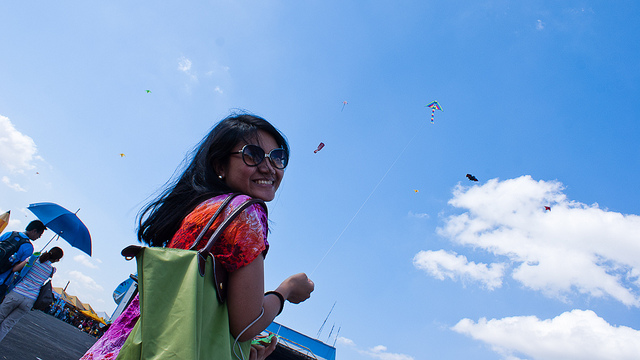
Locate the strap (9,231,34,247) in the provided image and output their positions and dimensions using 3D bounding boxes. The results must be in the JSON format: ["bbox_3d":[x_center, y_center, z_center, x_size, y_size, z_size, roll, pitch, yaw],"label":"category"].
[{"bbox_3d":[-5.871,1.196,6.642,0.241,0.205,0.389,8,-39,20],"label":"strap"}]

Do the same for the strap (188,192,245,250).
[{"bbox_3d":[-0.974,0.375,3.095,0.129,0.542,0.311,47,-19,-28],"label":"strap"}]

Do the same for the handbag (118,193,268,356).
[{"bbox_3d":[-1.037,0.862,2.923,0.929,1.133,1.203,-26,-42,26],"label":"handbag"}]

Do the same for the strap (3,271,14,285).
[{"bbox_3d":[-6.051,1.874,6.526,0.022,0.246,0.120,24,-38,2],"label":"strap"}]

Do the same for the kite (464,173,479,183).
[{"bbox_3d":[3.302,-0.041,7.284,0.163,0.116,0.257,19,3,39],"label":"kite"}]
